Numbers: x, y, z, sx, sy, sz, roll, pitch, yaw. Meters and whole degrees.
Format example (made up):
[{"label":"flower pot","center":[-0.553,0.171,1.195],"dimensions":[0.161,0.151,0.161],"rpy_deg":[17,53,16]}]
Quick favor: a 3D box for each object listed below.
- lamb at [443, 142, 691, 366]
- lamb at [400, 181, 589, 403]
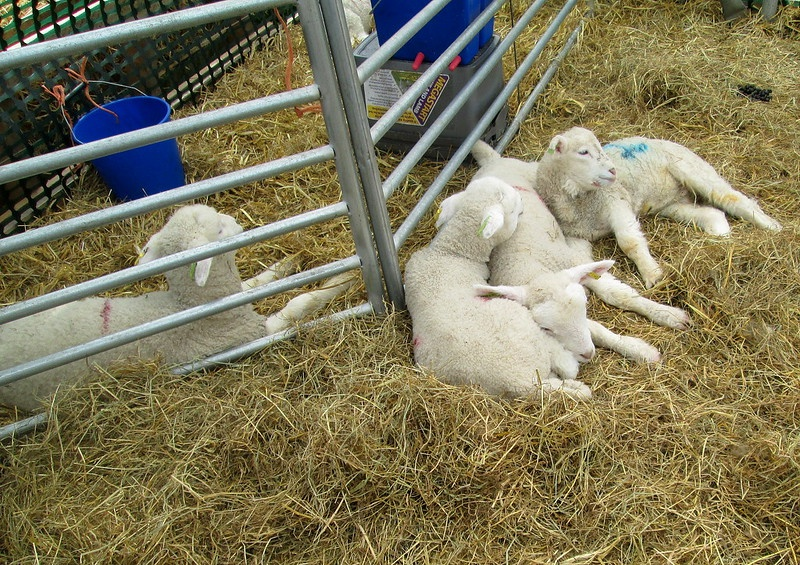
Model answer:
[{"label":"lamb","center":[0.742,-0.082,3.742],"dimensions":[0.874,0.387,1.038],"rpy_deg":[-29,44,-21]},{"label":"lamb","center":[0.438,0.054,3.791],"dimensions":[0.798,0.550,1.412],"rpy_deg":[-6,38,-3]}]
